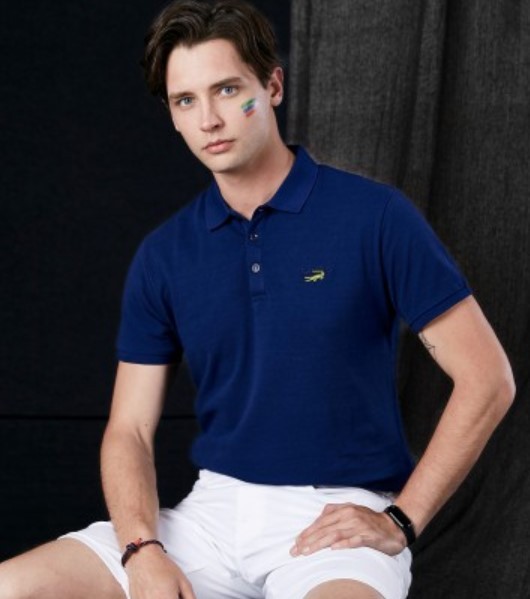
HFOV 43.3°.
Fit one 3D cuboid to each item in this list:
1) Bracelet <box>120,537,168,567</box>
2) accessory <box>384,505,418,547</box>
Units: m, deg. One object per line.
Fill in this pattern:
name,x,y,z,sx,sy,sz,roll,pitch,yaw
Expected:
Bracelet,-0.198,0.391,1.053,0.054,0.013,0.052,-17,8,20
accessory,0.204,0.345,1.029,0.026,0.034,0.060,-26,53,-27
